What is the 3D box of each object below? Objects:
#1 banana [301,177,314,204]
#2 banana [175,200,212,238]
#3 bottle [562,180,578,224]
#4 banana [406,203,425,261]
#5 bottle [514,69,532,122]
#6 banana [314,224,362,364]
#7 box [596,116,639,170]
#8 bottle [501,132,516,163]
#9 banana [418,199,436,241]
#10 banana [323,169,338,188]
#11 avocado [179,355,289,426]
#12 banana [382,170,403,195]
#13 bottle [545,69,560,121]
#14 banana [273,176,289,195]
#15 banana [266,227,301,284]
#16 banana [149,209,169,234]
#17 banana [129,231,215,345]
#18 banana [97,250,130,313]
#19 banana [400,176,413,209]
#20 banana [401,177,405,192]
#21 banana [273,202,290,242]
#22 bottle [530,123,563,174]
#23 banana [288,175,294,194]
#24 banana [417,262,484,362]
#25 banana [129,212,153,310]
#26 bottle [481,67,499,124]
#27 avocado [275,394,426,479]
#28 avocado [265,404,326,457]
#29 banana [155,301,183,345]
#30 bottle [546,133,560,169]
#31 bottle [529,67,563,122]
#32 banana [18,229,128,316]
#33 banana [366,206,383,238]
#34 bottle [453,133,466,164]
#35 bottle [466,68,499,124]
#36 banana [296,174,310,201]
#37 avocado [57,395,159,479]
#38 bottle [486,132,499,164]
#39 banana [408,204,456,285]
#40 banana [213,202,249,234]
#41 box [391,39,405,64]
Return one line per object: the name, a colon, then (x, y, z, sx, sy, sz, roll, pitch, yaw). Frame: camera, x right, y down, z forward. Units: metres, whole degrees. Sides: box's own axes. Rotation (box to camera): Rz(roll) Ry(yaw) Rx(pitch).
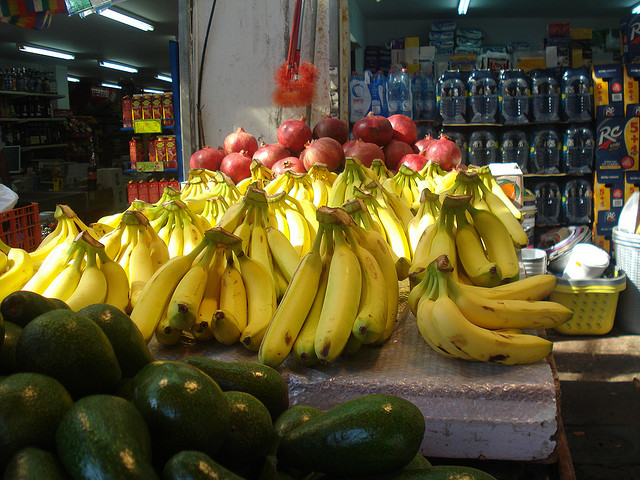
banana: (-0.052, -0.249, 2.248, 0.033, 0.150, 0.049, -16, -9, 12)
banana: (-0.493, -0.081, 1.852, 0.034, 0.181, 0.050, -36, -14, -35)
bottle: (3.206, -0.489, 6.004, 0.271, 0.457, 0.103, -1, 7, -10)
banana: (0.375, -0.032, 1.886, 0.073, 0.251, 0.056, 11, -10, -4)
bottle: (2.471, -1.752, 5.781, 0.289, 0.585, 0.110, -4, 9, -22)
banana: (0.055, 0.131, 1.284, 0.078, 0.378, 0.122, -9, -37, 15)
box: (3.644, -1.182, 5.780, 0.560, 0.622, 0.195, -2, 9, -12)
bottle: (2.362, -1.167, 5.964, 0.231, 0.361, 0.150, -9, 12, -44)
banana: (0.420, -0.082, 1.878, 0.052, 0.213, 0.070, -21, -48, 37)
banana: (0.061, -0.327, 2.411, 0.033, 0.142, 0.052, -28, 11, -2)
avocado: (-0.179, 0.263, 0.944, 0.228, 0.111, 0.103, 21, 3, 0)
banana: (0.364, -0.286, 2.310, 0.064, 0.095, 0.249, 28, 19, 4)
bottle: (2.795, -1.739, 5.725, 0.206, 0.589, 0.071, -1, 8, -4)
banana: (-0.172, -0.254, 2.253, 0.027, 0.106, 0.050, 32, -4, -33)
banana: (-0.130, 0.032, 1.573, 0.060, 0.243, 0.077, -28, -39, 14)
banana: (-0.613, -0.069, 1.818, 0.019, 0.093, 0.032, 38, -6, -17)
banana: (-0.439, 0.147, 1.404, 0.065, 0.316, 0.101, 8, -23, 31)
banana: (-0.613, 0.126, 1.411, 0.039, 0.182, 0.064, -18, -11, 7)
banana: (0.436, -0.230, 2.367, 0.056, 0.184, 0.048, 21, -40, -23)
banana: (0.423, -0.283, 2.406, 0.009, 0.046, 0.006, 9, 0, 25)
banana: (-0.147, -0.072, 1.858, 0.041, 0.209, 0.070, -8, -28, -6)
bottle: (2.805, -1.129, 5.901, 0.337, 0.601, 0.145, 1, 8, 11)
banana: (-0.135, -0.264, 2.249, 0.013, 0.086, 0.021, 6, -13, -12)
banana: (0.334, 0.194, 1.246, 0.057, 0.237, 0.175, -14, 22, 36)
banana: (-0.587, 0.073, 1.564, 0.061, 0.303, 0.097, -6, -20, 8)
bottle: (2.092, -1.769, 5.846, 0.262, 0.638, 0.124, 0, 13, 1)
avocado: (0.059, 0.310, 0.834, 0.218, 0.125, 0.121, -5, -6, -7)
avocado: (-0.050, 0.339, 0.864, 0.080, 0.050, 0.046, -36, 40, -27)
banana: (-0.415, 0.247, 1.366, 0.064, 0.055, 0.136, 44, 2, 0)
bottle: (2.920, -1.115, 5.931, 0.250, 0.397, 0.088, -4, 9, -24)
bottle: (2.759, -1.744, 5.772, 0.409, 0.609, 0.224, 3, 9, 19)
banana: (-0.725, 0.096, 1.419, 0.135, 0.134, 0.247, -12, 24, 5)
banana: (0.197, -0.062, 1.700, 0.022, 0.117, 0.042, -16, 25, 26)
bottle: (1.798, -1.176, 6.089, 0.132, 0.377, 0.446, 6, 11, 35)
bottle: (2.010, -1.748, 5.819, 0.371, 0.641, 0.240, 3, 9, 19)
banana: (-0.086, -0.231, 2.221, 0.040, 0.158, 0.053, -34, -43, 24)
avocado: (-0.296, 0.281, 0.662, 0.083, 0.069, 0.141, -43, 43, -16)
bottle: (2.191, -1.167, 6.006, 0.176, 0.365, 0.121, 1, 8, 10)
banana: (0.303, -0.003, 1.427, 0.131, 0.076, 0.311, -12, -27, 6)
banana: (-0.311, -0.081, 1.630, 0.052, 0.049, 0.162, 9, 30, 10)
box: (1.425, -3.439, 8.660, 0.235, 0.485, 0.329, 1, 9, 7)
